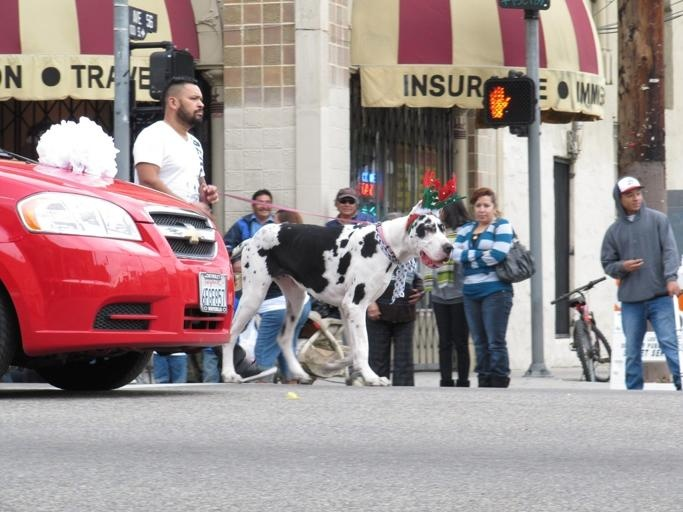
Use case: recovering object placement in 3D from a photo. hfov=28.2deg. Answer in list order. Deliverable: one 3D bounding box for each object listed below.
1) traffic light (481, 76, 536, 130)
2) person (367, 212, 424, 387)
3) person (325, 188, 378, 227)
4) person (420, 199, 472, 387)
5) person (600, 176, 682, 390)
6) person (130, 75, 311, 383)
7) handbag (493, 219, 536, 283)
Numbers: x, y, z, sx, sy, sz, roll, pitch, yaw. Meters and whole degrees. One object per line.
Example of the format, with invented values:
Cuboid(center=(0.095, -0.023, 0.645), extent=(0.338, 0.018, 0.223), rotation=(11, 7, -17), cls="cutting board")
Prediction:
Cuboid(center=(1.893, -1.736, 15.285), extent=(0.583, 0.553, 0.198), rotation=(-1, -2, 6), cls="traffic light")
Cuboid(center=(0.487, 0.459, 13.586), extent=(0.683, 1.571, 0.557), rotation=(2, 6, 18), cls="person")
Cuboid(center=(0.068, -0.491, 14.430), extent=(0.268, 0.335, 0.763), rotation=(-2, -2, 1), cls="person")
Cuboid(center=(1.335, 0.334, 12.769), extent=(0.629, 1.859, 0.662), rotation=(-2, 2, -22), cls="person")
Cuboid(center=(2.832, 0.291, 12.823), extent=(0.836, 1.857, 0.838), rotation=(0, 0, 19), cls="person")
Cuboid(center=(-1.156, -0.420, 11.648), extent=(1.142, 2.127, 1.041), rotation=(4, 8, 10), cls="person")
Cuboid(center=(1.594, -0.025, 12.611), extent=(0.295, 0.509, 0.314), rotation=(-7, 7, -38), cls="handbag")
